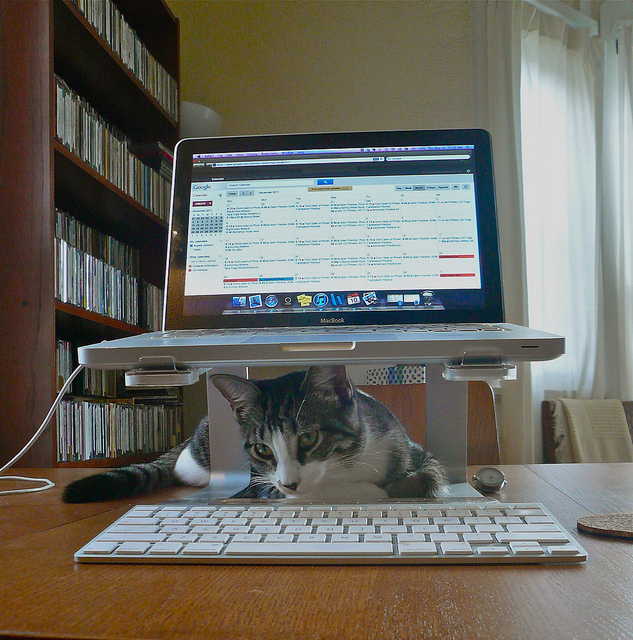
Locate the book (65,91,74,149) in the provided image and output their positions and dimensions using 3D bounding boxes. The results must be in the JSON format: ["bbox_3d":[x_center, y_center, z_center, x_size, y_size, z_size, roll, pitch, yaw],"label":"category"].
[{"bbox_3d":[-0.545,-0.443,1.415,0.010,0.111,0.102,-3,20,-28],"label":"book"}]

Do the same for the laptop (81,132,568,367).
[{"bbox_3d":[0.010,-0.095,0.712,0.448,0.268,0.260,-2,3,7],"label":"laptop"}]

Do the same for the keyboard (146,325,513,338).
[{"bbox_3d":[0.015,0.014,0.776,0.423,0.006,0.060,-1,8,1],"label":"keyboard"}]

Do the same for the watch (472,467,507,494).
[{"bbox_3d":[0.218,0.204,0.810,0.036,0.026,0.029,-8,12,-36],"label":"watch"}]
